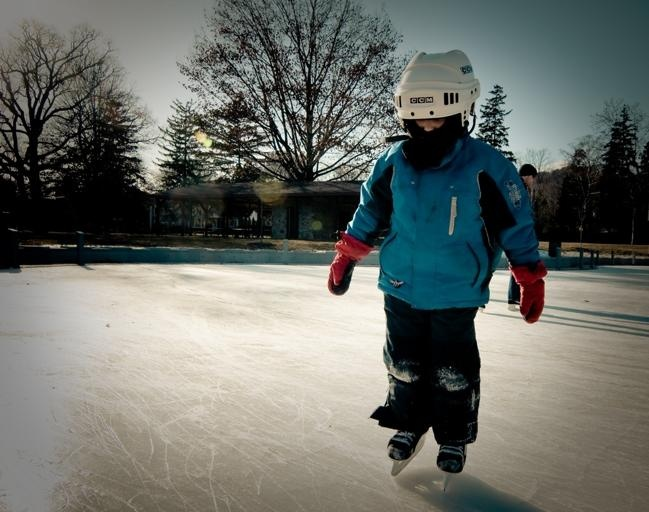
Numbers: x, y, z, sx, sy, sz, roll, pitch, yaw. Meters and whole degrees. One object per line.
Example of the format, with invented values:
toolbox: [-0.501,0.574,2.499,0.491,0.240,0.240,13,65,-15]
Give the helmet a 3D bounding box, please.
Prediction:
helmet: [0.596,-0.842,2.775,0.424,0.501,0.515,8,18,39]

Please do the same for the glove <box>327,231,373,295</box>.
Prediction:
glove: [0.113,0.042,2.878,0.172,0.382,0.173,24,-13,22]

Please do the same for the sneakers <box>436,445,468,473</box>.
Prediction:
sneakers: [0.648,1.026,2.629,0.102,0.164,0.158,0,-32,19]

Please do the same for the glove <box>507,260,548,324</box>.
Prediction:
glove: [1.033,0.176,2.659,0.182,0.357,0.206,-1,7,18]

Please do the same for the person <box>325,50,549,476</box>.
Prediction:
person: [0.569,0.024,2.630,1.002,2.117,0.441,4,6,25]
